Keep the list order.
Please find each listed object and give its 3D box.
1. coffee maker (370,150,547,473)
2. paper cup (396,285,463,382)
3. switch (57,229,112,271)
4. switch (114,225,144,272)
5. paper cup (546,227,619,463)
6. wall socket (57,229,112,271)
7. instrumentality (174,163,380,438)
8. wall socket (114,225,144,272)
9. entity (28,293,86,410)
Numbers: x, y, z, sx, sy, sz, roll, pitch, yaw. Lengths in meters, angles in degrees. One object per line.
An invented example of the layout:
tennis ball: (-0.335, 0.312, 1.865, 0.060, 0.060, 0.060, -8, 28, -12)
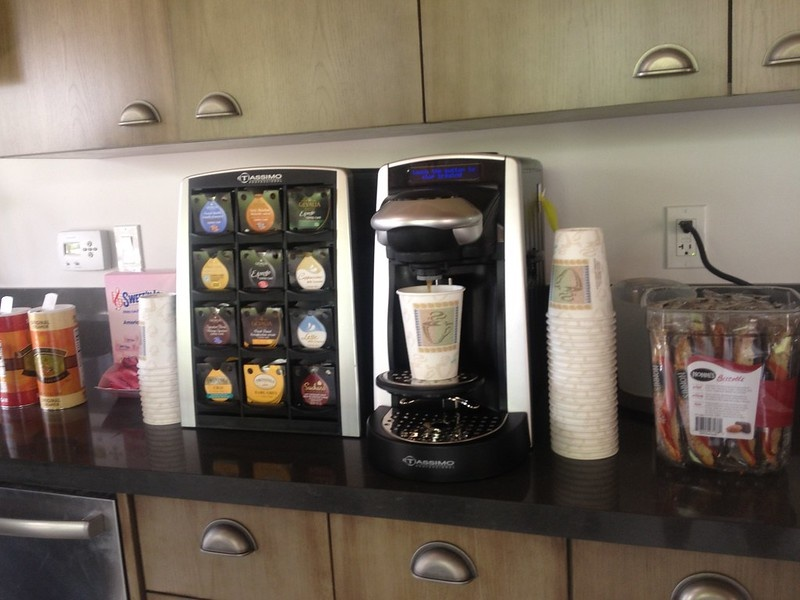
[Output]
coffee maker: (0.134, 0.009, 1.230, 0.451, 0.562, 0.294, -6, 6, -13)
paper cup: (0.053, 0.067, 1.180, 0.152, 0.140, 0.140, -2, -5, 0)
switch: (-0.918, -0.144, 1.929, 0.182, 0.111, 0.060, 0, 6, 25)
switch: (-0.726, -0.134, 1.743, 0.018, 0.117, 0.087, 3, 10, 35)
paper cup: (0.319, 0.081, 1.154, 0.126, 0.409, 0.079, -4, 7, 9)
wall socket: (-0.903, -0.145, 1.895, 0.150, 0.102, 0.047, 1, 5, 14)
instrumentality: (-0.255, 0.003, 1.357, 0.438, 0.544, 0.142, -4, 7, 9)
wall socket: (-0.719, -0.135, 1.754, 0.091, 0.118, 0.018, -3, 5, 19)
entity: (-0.785, 0.135, 1.509, 0.096, 0.237, 0.064, -8, 7, -25)
